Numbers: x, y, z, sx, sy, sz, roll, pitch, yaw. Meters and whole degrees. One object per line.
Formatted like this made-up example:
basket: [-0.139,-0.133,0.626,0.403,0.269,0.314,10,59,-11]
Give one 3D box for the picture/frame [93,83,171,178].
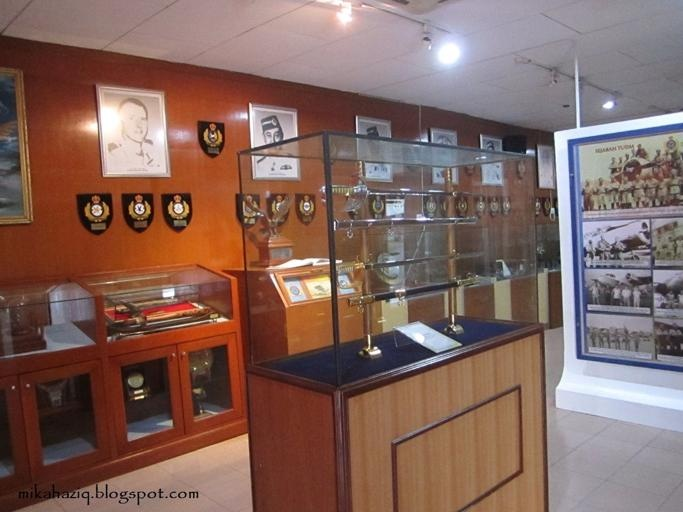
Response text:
picture/frame: [-1.800,-1.046,4.476,0.753,1.061,0.048,-4,2,-37]
